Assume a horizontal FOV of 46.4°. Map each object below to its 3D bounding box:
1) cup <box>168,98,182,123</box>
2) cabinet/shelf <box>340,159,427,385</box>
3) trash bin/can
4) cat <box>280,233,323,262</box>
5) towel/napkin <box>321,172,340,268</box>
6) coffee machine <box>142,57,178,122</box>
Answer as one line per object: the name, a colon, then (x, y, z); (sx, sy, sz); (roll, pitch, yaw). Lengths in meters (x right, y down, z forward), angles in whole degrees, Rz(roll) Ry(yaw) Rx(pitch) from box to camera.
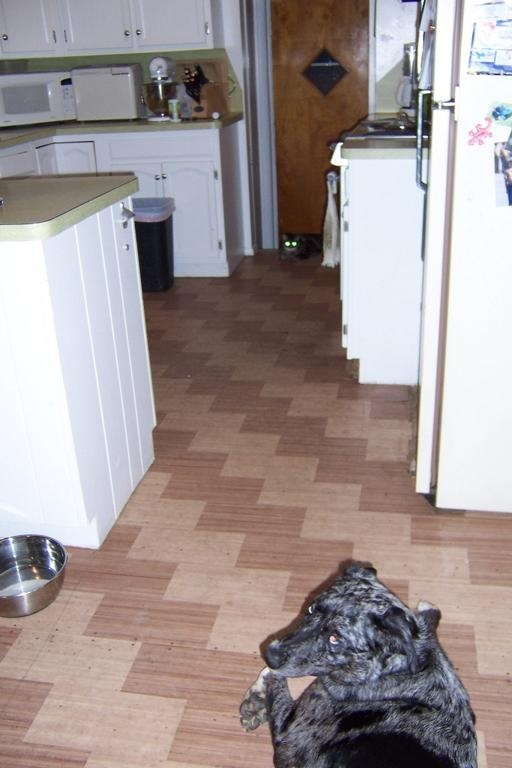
cup: (-0.562, -1.886, 4.117); (0.082, 0.147, 0.232); (-8, 26, -5)
cabinet/shelf: (0.547, -0.478, 2.493); (0.334, 0.929, 0.552); (2, 38, 7)
trash bin/can: (-0.655, -0.907, 4.036); (0.296, 0.596, 0.292); (-15, 26, -18)
cat: (0.380, -1.127, 4.820); (0.399, 0.178, 0.347); (-11, 26, -10)
towel/napkin: (0.525, -1.144, 4.256); (0.141, 0.692, 0.426); (-3, 25, 8)
coffee machine: (-0.669, -2.067, 4.171); (0.213, 0.353, 0.345); (-12, 26, -12)
